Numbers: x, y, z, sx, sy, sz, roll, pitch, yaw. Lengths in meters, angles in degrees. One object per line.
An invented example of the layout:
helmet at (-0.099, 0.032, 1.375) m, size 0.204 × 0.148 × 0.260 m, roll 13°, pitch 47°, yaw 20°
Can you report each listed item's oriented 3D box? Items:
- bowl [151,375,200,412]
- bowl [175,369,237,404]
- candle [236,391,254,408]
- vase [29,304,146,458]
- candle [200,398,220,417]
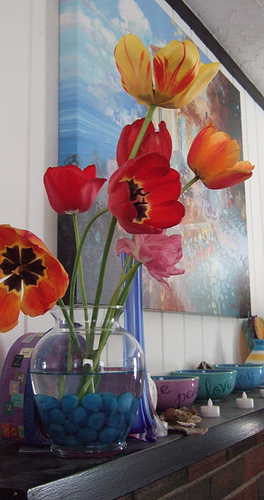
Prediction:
bowl at (0.080, 0.262, 0.753) m, size 0.058 × 0.058 × 0.088 m, roll -2°, pitch -8°, yaw 22°
bowl at (0.182, 0.297, 0.974) m, size 0.117 × 0.061 × 0.116 m, roll 0°, pitch -9°, yaw 0°
candle at (0.229, 0.305, 0.862) m, size 0.033 × 0.035 × 0.034 m, roll 2°, pitch -5°, yaw -12°
vase at (-0.037, 0.141, 0.486) m, size 0.139 × 0.172 × 0.138 m, roll -1°, pitch -11°, yaw 7°
candle at (0.131, 0.266, 0.706) m, size 0.028 × 0.031 × 0.028 m, roll -1°, pitch -8°, yaw 13°
